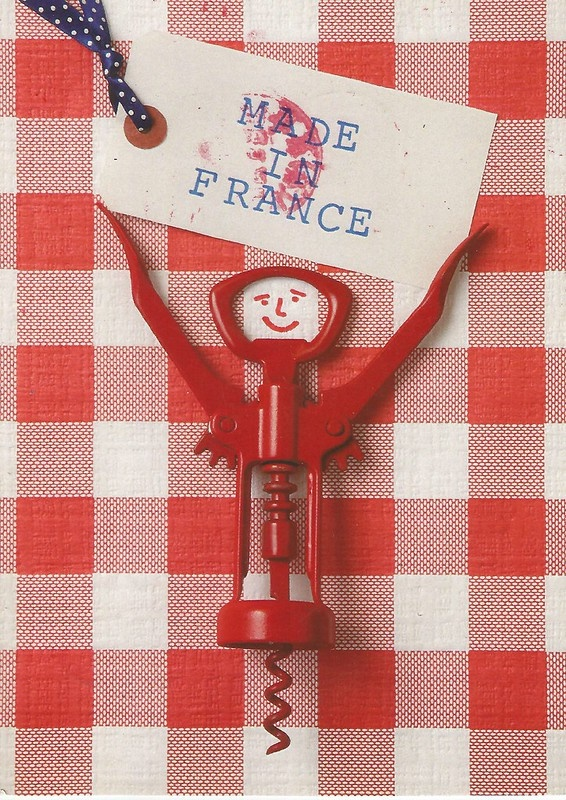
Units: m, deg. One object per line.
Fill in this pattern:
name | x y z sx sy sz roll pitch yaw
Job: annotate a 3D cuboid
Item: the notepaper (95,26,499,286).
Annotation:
notepaper | 0.005 -0.175 0.992 0.310 0.003 0.142 0 94 -40
